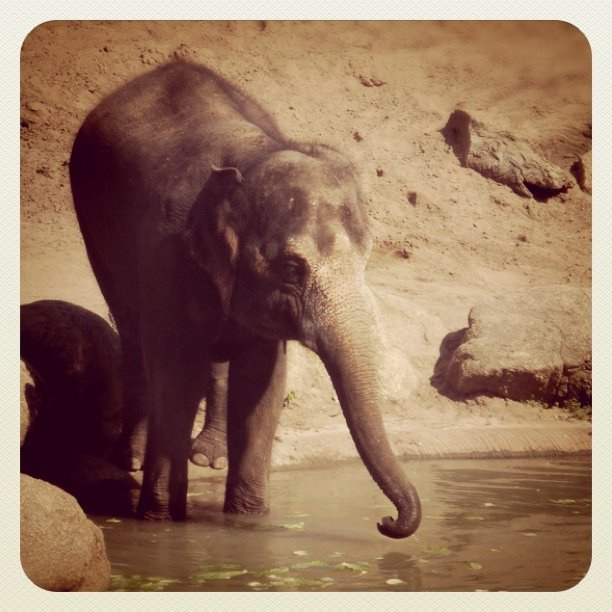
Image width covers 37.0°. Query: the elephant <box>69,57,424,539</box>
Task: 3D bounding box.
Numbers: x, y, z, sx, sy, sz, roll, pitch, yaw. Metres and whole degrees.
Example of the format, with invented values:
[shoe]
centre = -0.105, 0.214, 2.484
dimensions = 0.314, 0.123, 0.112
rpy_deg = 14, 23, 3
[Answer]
[elephant]
centre = -0.286, 0.048, 3.831
dimensions = 0.943, 1.617, 2.373
rpy_deg = 4, 6, -23
